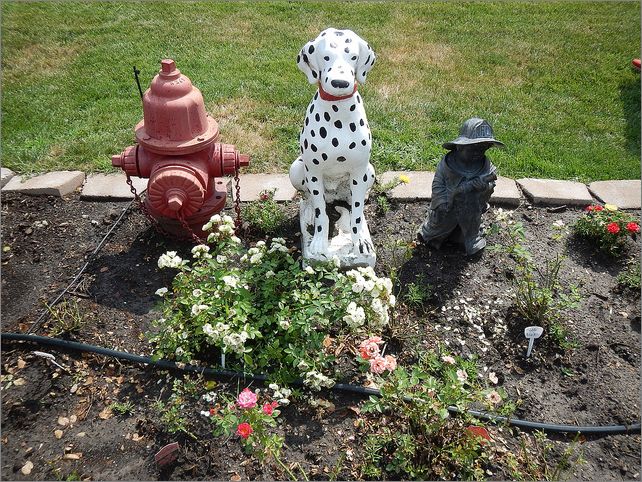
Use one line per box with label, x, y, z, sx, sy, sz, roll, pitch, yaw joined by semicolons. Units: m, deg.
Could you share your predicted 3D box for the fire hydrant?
fire hydrant;-1.287;-0.767;4.766;0.867;1.482;0.876;31;49;30
